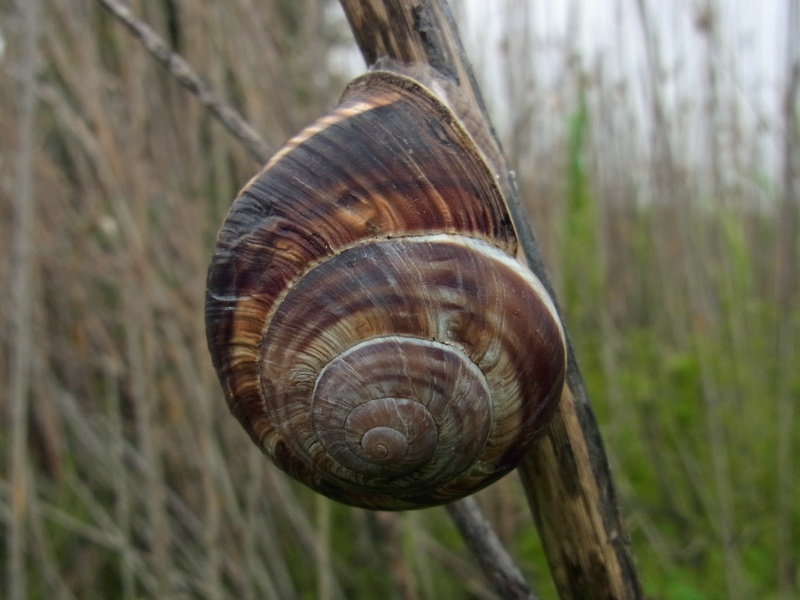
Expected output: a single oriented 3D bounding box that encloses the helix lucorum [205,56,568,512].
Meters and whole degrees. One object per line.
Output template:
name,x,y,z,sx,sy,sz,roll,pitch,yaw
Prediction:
helix lucorum,-0.021,-0.021,1.827,0.544,0.621,0.267,1,-20,9
